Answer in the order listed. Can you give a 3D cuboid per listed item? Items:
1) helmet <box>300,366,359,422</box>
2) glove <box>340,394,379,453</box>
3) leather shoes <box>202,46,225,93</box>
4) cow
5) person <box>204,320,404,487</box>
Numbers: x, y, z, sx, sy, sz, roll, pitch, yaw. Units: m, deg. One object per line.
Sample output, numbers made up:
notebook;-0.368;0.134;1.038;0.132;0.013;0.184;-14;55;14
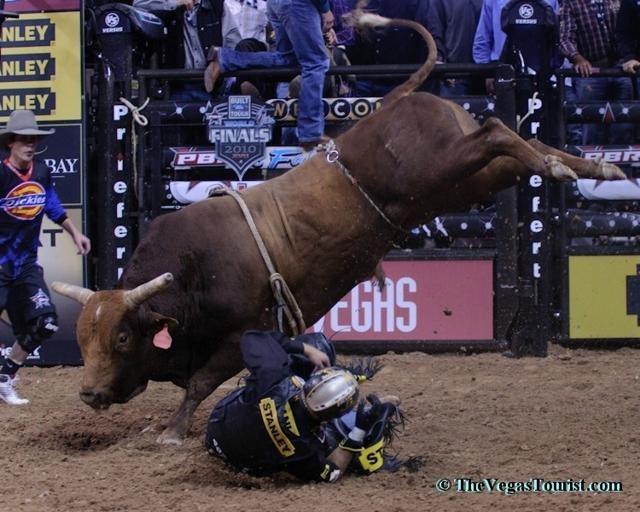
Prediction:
helmet;0.104;0.964;8.412;0.372;0.314;0.358;-34;-16;-6
glove;0.322;1.241;8.857;0.239;0.377;0.160;34;-13;30
leather shoes;-0.983;-1.716;11.136;0.224;0.385;0.116;26;23;37
cow;-0.208;0.114;9.287;3.565;2.608;0.926;-3;13;-7
person;-0.163;1.107;8.751;1.212;1.035;1.227;-24;8;-9
